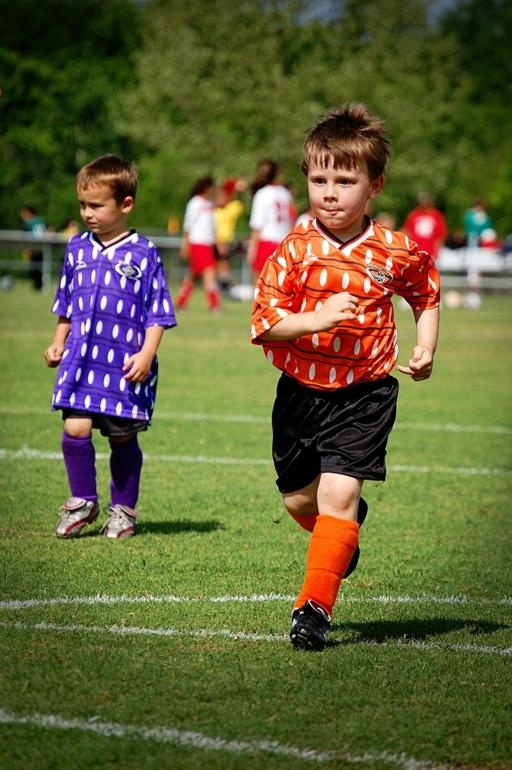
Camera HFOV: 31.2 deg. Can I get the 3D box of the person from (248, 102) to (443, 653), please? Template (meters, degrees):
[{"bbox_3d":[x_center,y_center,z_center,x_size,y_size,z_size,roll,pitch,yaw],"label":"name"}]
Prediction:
[{"bbox_3d":[0.232,-0.059,2.410,0.544,1.390,0.394,-2,7,-42],"label":"person"}]

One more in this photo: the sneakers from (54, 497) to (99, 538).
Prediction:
[{"bbox_3d":[-0.646,0.483,3.360,0.083,0.096,0.217,6,18,25],"label":"sneakers"}]

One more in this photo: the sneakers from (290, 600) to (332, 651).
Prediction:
[{"bbox_3d":[0.132,0.592,2.225,0.090,0.114,0.077,3,5,3],"label":"sneakers"}]

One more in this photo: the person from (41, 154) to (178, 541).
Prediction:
[{"bbox_3d":[-0.523,-0.131,3.314,0.460,1.420,0.426,3,5,-5],"label":"person"}]
